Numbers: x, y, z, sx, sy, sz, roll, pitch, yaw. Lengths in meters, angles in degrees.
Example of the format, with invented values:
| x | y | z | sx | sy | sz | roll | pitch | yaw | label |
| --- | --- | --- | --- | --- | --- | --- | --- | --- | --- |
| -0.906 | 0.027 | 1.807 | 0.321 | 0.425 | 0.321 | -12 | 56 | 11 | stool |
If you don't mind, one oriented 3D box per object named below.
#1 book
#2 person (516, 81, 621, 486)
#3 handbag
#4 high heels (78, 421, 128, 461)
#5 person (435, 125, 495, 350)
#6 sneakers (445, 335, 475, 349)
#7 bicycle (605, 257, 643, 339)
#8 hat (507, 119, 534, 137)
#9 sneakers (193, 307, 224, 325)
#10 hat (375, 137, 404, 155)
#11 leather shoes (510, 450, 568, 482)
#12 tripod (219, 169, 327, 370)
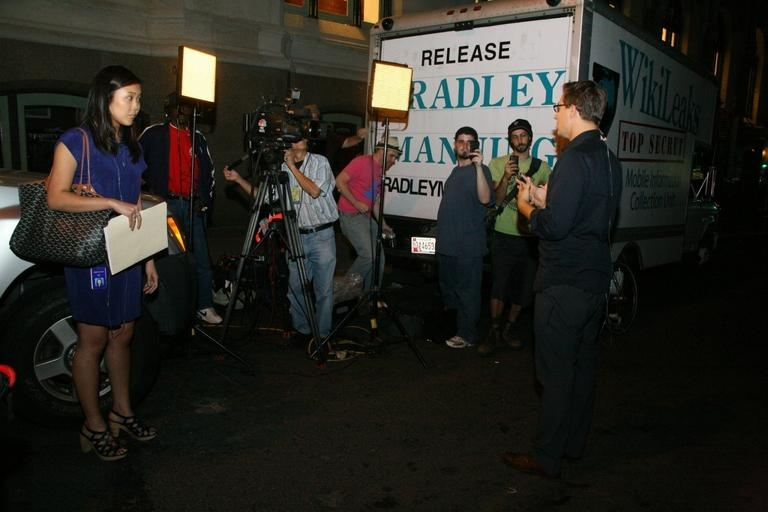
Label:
| x | y | z | sx | sy | sz | roll | pitch | yaw | label |
| --- | --- | --- | --- | --- | --- | --- | --- | --- | --- |
| -1.989 | -0.148 | 4.637 | 0.079 | 0.411 | 0.573 | 11 | 23 | 26 | book |
| 1.512 | 0.185 | 4.886 | 0.801 | 3.223 | 0.662 | 2 | 11 | -6 | person |
| -2.483 | -0.291 | 4.543 | 0.768 | 0.721 | 0.311 | 11 | 9 | 8 | handbag |
| -2.337 | 1.556 | 4.889 | 0.454 | 0.219 | 0.168 | 14 | 8 | 10 | high heels |
| 0.999 | -0.188 | 7.103 | 0.543 | 2.661 | 0.656 | -5 | 13 | -34 | person |
| 0.934 | 1.075 | 7.323 | 0.267 | 0.117 | 0.150 | 5 | -2 | -6 | sneakers |
| 3.114 | 0.580 | 7.846 | 0.130 | 1.213 | 1.203 | -3 | -15 | 30 | bicycle |
| 1.598 | -1.501 | 6.875 | 0.177 | 0.134 | 0.251 | 6 | 5 | 14 | hat |
| -2.266 | 0.773 | 7.596 | 0.340 | 0.153 | 0.166 | 10 | 19 | 21 | sneakers |
| 0.094 | -1.402 | 7.486 | 0.253 | 0.112 | 0.285 | 6 | 3 | -40 | hat |
| 1.286 | 1.723 | 4.979 | 0.495 | 0.183 | 0.183 | 13 | 8 | 25 | leather shoes |
| -1.187 | 0.100 | 6.500 | 1.153 | 2.102 | 0.892 | 2 | 11 | -5 | tripod |
